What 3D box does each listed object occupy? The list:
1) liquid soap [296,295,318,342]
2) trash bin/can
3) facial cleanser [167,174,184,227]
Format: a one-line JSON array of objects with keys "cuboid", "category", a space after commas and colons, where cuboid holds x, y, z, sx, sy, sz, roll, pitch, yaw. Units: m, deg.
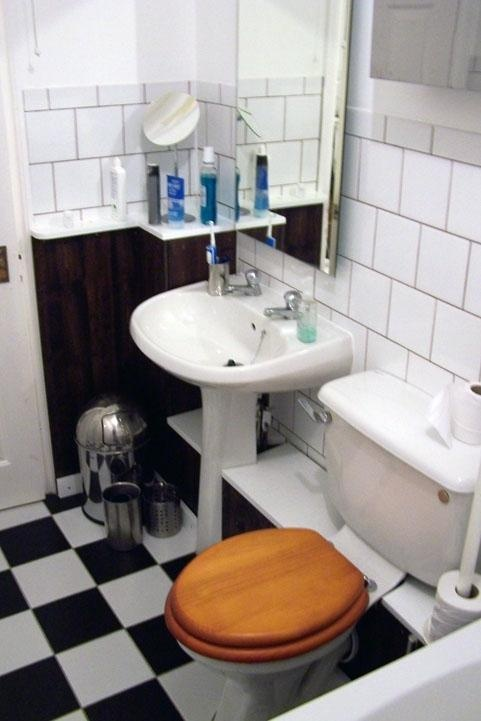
[{"cuboid": [0.180, -0.109, 1.419, 0.065, 0.137, 0.082, 7, 35, 10], "category": "liquid soap"}, {"cuboid": [-0.465, 0.366, 1.901, 0.232, 0.445, 0.268, -10, 37, -20], "category": "trash bin/can"}, {"cuboid": [-0.230, -0.543, 1.786, 0.046, 0.150, 0.092, -18, 26, -39], "category": "facial cleanser"}]
